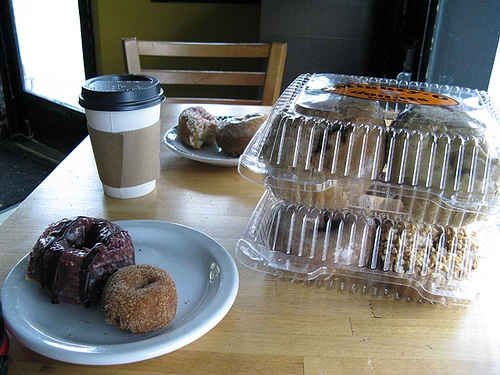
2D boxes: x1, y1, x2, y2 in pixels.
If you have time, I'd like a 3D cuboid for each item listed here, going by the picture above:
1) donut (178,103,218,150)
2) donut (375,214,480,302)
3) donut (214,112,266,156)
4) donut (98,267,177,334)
[{"bbox_3d":[-0.149,-0.181,1.285,0.089,0.048,0.126,-3,35,-16],"label":"donut"},{"bbox_3d":[0.306,0.120,0.812,0.182,0.101,0.068,12,34,7],"label":"donut"},{"bbox_3d":[-0.013,-0.136,1.256,0.158,0.094,0.125,-14,28,-26],"label":"donut"},{"bbox_3d":[-0.185,0.189,0.792,0.123,0.058,0.101,7,35,0],"label":"donut"}]
